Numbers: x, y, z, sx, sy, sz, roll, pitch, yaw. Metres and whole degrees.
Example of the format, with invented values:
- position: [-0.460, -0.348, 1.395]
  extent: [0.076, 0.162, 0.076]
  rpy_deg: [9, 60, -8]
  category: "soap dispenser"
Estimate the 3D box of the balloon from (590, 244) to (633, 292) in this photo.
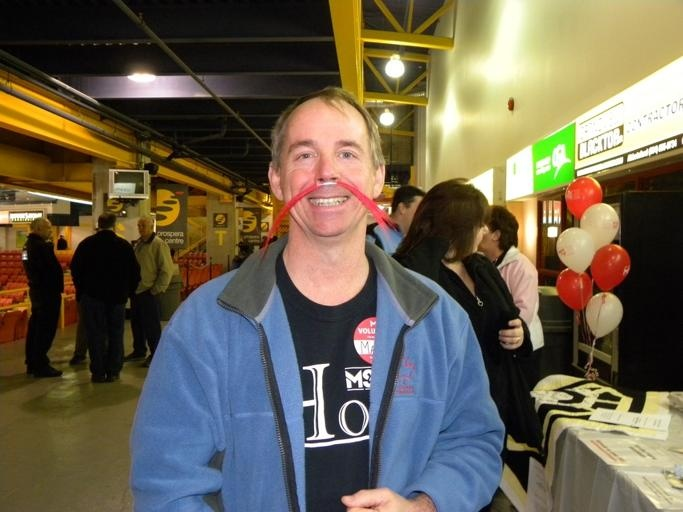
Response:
- position: [1.918, 0.091, 3.645]
  extent: [0.239, 0.363, 0.267]
  rpy_deg: [-7, 14, -25]
  category: "balloon"

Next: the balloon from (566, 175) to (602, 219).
- position: [1.817, -0.443, 3.824]
  extent: [0.239, 0.333, 0.249]
  rpy_deg: [4, 2, -27]
  category: "balloon"

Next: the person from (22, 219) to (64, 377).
- position: [-3.574, 0.492, 6.078]
  extent: [0.426, 1.888, 0.512]
  rpy_deg: [-4, 8, -37]
  category: "person"

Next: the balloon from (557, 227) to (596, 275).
- position: [1.698, -0.042, 3.664]
  extent: [0.254, 0.355, 0.261]
  rpy_deg: [-2, 6, 40]
  category: "balloon"

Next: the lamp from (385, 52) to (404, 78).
- position: [0.894, -3.232, 8.418]
  extent: [0.240, 0.472, 0.877]
  rpy_deg: [2, 7, 9]
  category: "lamp"

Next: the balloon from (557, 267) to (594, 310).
- position: [1.735, 0.264, 3.920]
  extent: [0.251, 0.377, 0.291]
  rpy_deg: [0, -12, -5]
  category: "balloon"

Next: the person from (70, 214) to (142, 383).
- position: [-2.847, 0.397, 6.086]
  extent: [0.723, 2.059, 0.604]
  rpy_deg: [-5, 24, -37]
  category: "person"

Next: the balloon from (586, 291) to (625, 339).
- position: [1.930, 0.437, 3.745]
  extent: [0.240, 0.373, 0.258]
  rpy_deg: [-1, 13, 27]
  category: "balloon"

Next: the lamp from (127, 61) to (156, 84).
- position: [-2.598, -2.429, 6.634]
  extent: [0.346, 0.162, 0.311]
  rpy_deg: [0, 7, -12]
  category: "lamp"

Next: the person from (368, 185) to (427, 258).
- position: [0.463, -0.259, 4.049]
  extent: [0.313, 0.636, 0.716]
  rpy_deg: [8, 21, 17]
  category: "person"

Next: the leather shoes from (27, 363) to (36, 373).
- position: [-3.690, 1.343, 6.043]
  extent: [0.103, 0.130, 0.114]
  rpy_deg: [0, -1, 0]
  category: "leather shoes"

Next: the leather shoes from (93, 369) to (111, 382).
- position: [-2.790, 1.415, 5.943]
  extent: [0.167, 0.191, 0.107]
  rpy_deg: [0, -9, -7]
  category: "leather shoes"

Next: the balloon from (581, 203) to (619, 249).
- position: [1.874, -0.183, 3.672]
  extent: [0.233, 0.439, 0.255]
  rpy_deg: [0, 6, 28]
  category: "balloon"
